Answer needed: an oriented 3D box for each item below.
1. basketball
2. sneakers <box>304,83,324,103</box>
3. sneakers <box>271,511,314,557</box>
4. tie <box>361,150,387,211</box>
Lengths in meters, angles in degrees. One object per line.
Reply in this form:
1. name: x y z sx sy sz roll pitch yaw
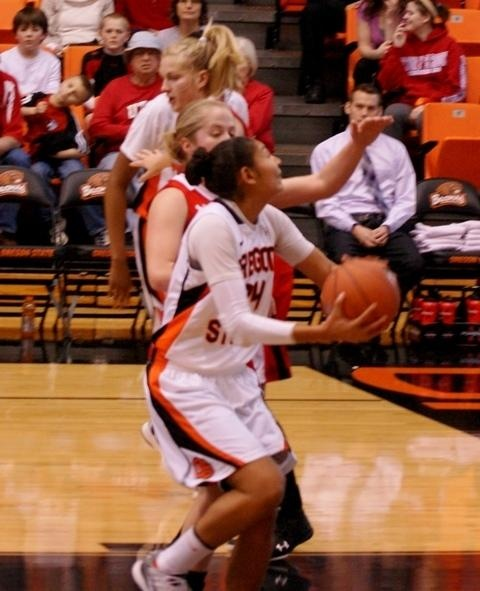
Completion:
1. basketball: 0.233 -0.008 1.261 0.144 0.114 0.148 2 8 8
2. sneakers: 0.670 -1.783 5.837 0.132 0.176 0.200 2 3 7
3. sneakers: 0.127 0.617 1.693 0.123 0.106 0.040 -4 11 -32
4. tie: 0.901 -0.754 4.434 0.093 0.523 0.025 -9 21 22
